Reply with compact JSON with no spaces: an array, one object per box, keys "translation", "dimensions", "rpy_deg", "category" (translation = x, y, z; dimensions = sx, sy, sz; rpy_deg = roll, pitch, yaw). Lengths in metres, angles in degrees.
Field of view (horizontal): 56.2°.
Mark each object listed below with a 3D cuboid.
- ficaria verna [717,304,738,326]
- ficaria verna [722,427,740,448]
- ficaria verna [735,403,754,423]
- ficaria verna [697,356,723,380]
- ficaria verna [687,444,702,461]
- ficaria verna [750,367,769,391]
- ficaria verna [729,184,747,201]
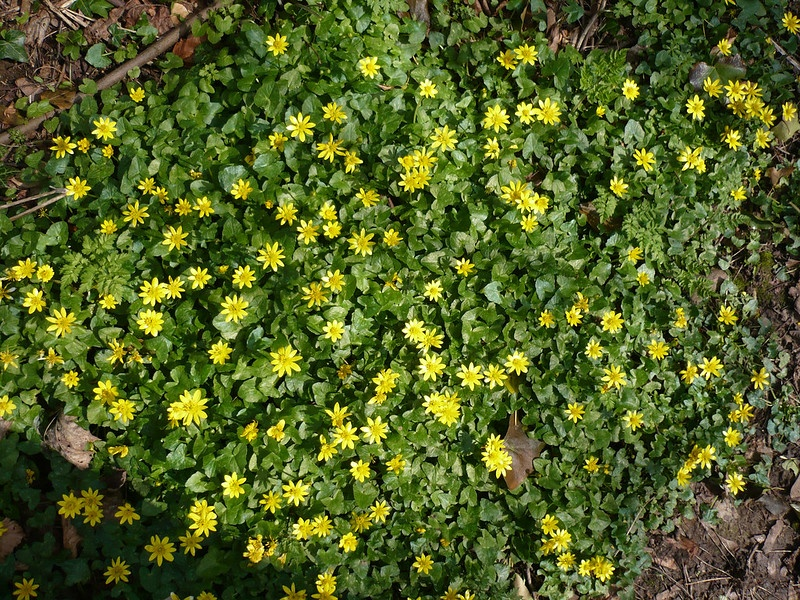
[{"translation":[2.595,0.132,5.899],"dimensions":[0.138,0.045,0.162],"rpy_deg":[8,59,1],"category":"ficaria verna"},{"translation":[2.530,1.061,5.786],"dimensions":[0.144,0.043,0.145],"rpy_deg":[46,79,-18],"category":"ficaria verna"},{"translation":[2.653,0.887,5.783],"dimensions":[0.149,0.079,0.135],"rpy_deg":[-2,85,-1],"category":"ficaria verna"},{"translation":[2.391,0.536,5.775],"dimensions":[0.172,0.057,0.165],"rpy_deg":[-3,85,-2],"category":"ficaria verna"},{"translation":[2.229,1.160,5.668],"dimensions":[0.086,0.042,0.105],"rpy_deg":[-13,74,-4],"category":"ficaria verna"},{"translation":[2.828,0.631,5.884],"dimensions":[0.157,0.066,0.154],"rpy_deg":[-24,86,-3],"category":"ficaria verna"},{"translation":[2.670,-0.829,5.924],"dimensions":[0.127,0.053,0.145],"rpy_deg":[7,81,-24],"category":"ficaria verna"}]
